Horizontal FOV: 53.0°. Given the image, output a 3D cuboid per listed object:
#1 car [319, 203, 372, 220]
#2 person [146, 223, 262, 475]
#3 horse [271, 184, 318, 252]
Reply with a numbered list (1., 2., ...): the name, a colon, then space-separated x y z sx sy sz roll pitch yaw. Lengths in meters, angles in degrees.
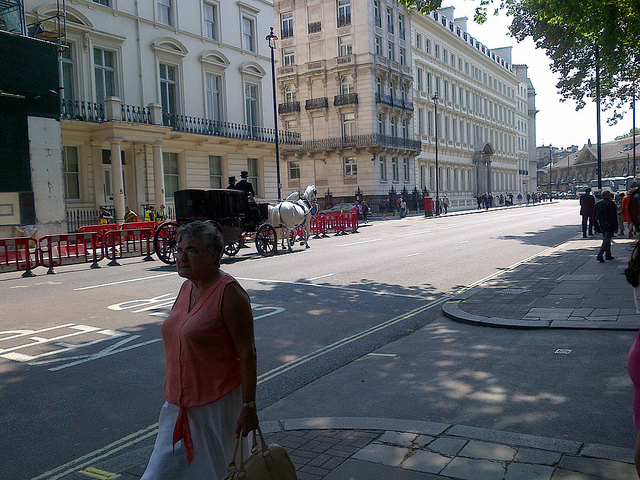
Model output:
1. car: 1.486 -1.725 44.202 2.836 1.028 1.325 7 8 33
2. person: -1.120 1.011 6.006 1.009 1.939 0.603 -5 3 -2
3. horse: -0.819 -0.807 23.494 0.984 2.318 3.212 2 7 27
